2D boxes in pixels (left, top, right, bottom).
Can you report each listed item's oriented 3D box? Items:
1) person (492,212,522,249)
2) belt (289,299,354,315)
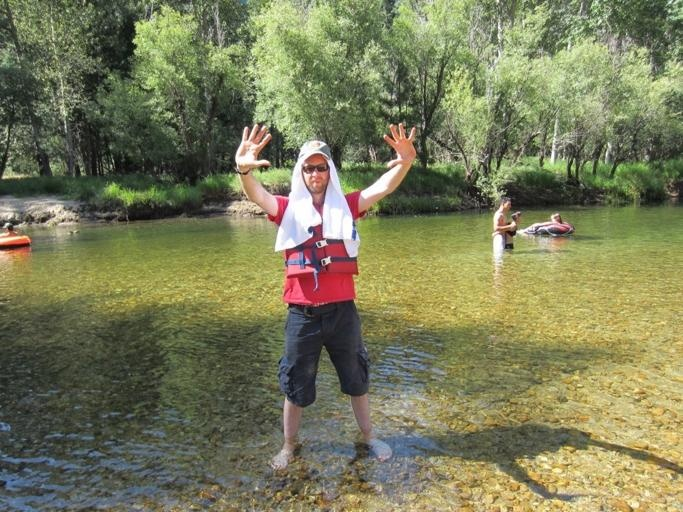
[{"bbox_3d":[5.880,-0.879,18.063,0.577,0.665,1.644,-10,-14,15],"label":"person"},{"bbox_3d":[-0.225,0.580,5.865,0.755,0.150,0.199,-2,13,-2],"label":"belt"}]
